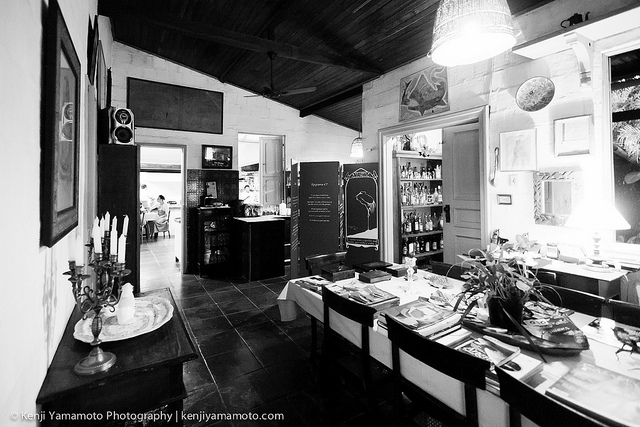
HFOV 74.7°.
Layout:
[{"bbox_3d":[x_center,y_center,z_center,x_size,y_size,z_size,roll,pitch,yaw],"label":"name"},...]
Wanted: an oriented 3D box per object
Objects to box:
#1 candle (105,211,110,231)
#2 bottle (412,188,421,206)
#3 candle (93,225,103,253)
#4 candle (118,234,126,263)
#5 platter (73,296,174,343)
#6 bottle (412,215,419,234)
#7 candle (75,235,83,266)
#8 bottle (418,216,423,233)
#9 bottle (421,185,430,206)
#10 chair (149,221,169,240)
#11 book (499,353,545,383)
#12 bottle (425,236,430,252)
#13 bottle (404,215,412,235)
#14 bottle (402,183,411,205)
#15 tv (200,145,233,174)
[{"bbox_3d":[-1.425,0.054,2.819,0.023,0.138,0.114,-6,14,-31],"label":"candle"},{"bbox_3d":[1.577,-0.267,6.864,0.136,0.220,0.351,3,12,12],"label":"bottle"},{"bbox_3d":[-1.383,0.157,2.618,0.042,0.165,0.075,-6,13,-30],"label":"candle"},{"bbox_3d":[-1.264,0.226,2.686,0.044,0.179,0.109,-6,14,-31],"label":"candle"},{"bbox_3d":[-1.319,0.702,3.090,0.668,0.271,0.668,5,2,-4],"label":"platter"},{"bbox_3d":[1.561,0.183,6.815,0.098,0.242,0.238,2,12,5],"label":"bottle"},{"bbox_3d":[-1.501,0.220,2.621,0.039,0.176,0.201,-5,13,-27],"label":"candle"},{"bbox_3d":[1.668,0.178,6.952,0.069,0.210,0.252,4,12,13],"label":"bottle"},{"bbox_3d":[1.746,-0.266,6.958,0.113,0.239,0.351,5,12,18],"label":"bottle"},{"bbox_3d":[-4.301,0.408,11.284,0.450,0.483,0.384,4,-6,-43],"label":"chair"},{"bbox_3d":[1.289,0.978,2.673,0.179,0.042,0.171,-18,11,-36],"label":"book"},{"bbox_3d":[1.802,0.506,7.063,0.079,0.200,0.307,4,12,13],"label":"bottle"},{"bbox_3d":[1.430,0.176,6.801,0.129,0.252,0.336,3,12,11],"label":"bottle"},{"bbox_3d":[1.413,-0.323,6.831,0.135,0.303,0.407,3,12,12],"label":"bottle"},{"bbox_3d":[-1.845,-1.004,7.573,0.565,0.473,0.066,-1,4,-29],"label":"tv"}]
